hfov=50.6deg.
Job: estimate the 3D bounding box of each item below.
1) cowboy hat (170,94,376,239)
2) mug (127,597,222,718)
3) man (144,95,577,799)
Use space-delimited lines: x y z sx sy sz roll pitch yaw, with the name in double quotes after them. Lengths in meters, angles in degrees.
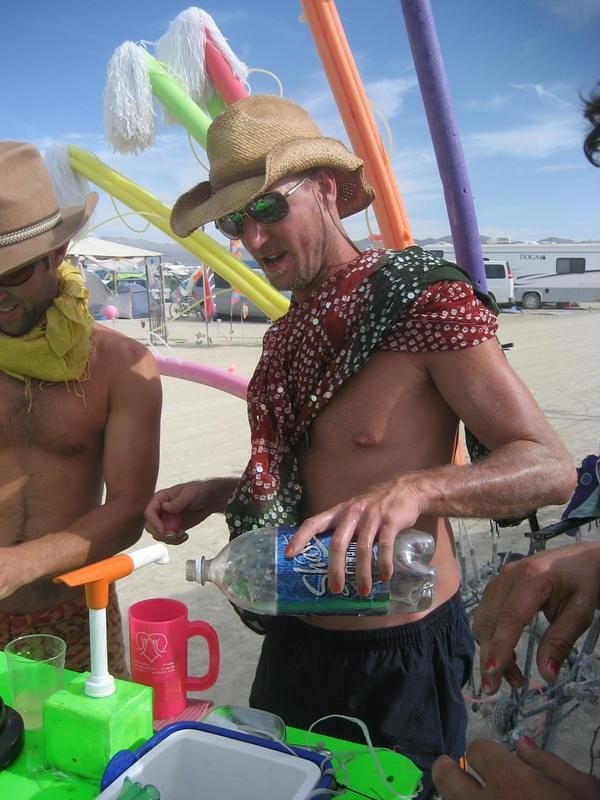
-0.084 -0.645 1.768 0.438 0.253 0.527 -6 9 31 "cowboy hat"
-0.286 0.578 1.438 0.189 0.169 0.161 -4 2 -15 "mug"
0.112 0.059 1.610 0.747 1.765 0.981 -6 3 -33 "man"
